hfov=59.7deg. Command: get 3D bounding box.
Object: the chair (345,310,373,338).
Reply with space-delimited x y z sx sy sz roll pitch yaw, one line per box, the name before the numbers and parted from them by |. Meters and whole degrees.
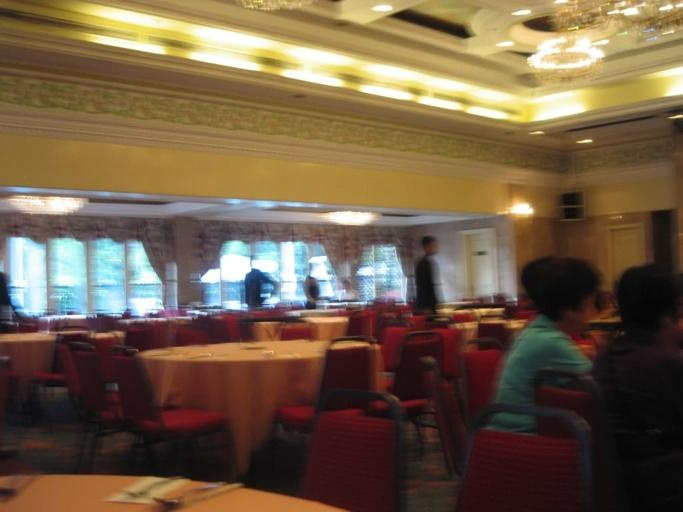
chair | 0.228 0.877 7.633 0.361 0.317 0.332 0 3 4
